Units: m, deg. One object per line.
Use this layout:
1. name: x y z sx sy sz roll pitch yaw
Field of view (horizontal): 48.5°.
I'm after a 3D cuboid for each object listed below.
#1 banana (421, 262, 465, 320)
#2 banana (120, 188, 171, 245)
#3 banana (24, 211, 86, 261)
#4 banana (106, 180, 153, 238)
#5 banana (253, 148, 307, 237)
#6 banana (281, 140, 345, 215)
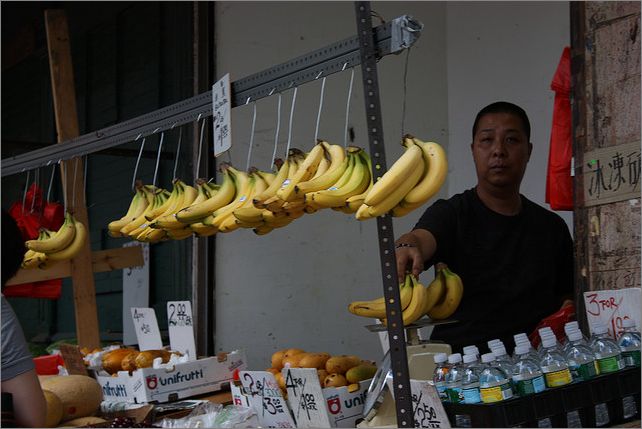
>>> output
1. banana: 0.689 0.454 3.964 0.183 0.253 0.111 2 -33 -4
2. banana: -1.044 -0.036 4.301 0.232 0.380 0.220 -6 11 -26
3. banana: -1.750 0.142 4.686 0.337 0.218 0.202 -17 12 -6
4. banana: -1.181 -0.009 4.400 0.128 0.378 0.240 15 -45 24
5. banana: -0.213 -0.109 3.951 0.212 0.599 0.172 14 -18 48
6. banana: 0.003 -0.201 3.801 0.229 0.413 0.116 -9 -52 50
